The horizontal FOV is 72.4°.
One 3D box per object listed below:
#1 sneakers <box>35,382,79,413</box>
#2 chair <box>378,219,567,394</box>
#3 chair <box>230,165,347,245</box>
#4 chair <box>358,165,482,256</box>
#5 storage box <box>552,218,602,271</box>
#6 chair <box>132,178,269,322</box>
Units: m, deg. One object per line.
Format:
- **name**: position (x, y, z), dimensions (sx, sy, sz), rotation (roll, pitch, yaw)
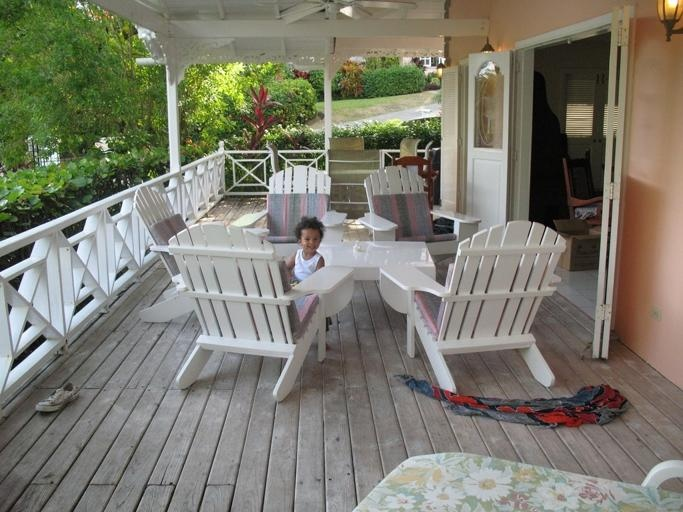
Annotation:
- **sneakers**: position (-1.828, 0.915, 2.997), dimensions (0.091, 0.091, 0.242), rotation (8, 12, 18)
- **chair**: position (0.847, 0.242, 3.606), dimensions (1.075, 1.021, 1.276), rotation (-2, 12, -10)
- **chair**: position (-0.652, -0.565, 5.484), dimensions (0.898, 0.867, 1.087), rotation (3, 32, 1)
- **chair**: position (0.744, -0.454, 5.442), dimensions (1.040, 1.153, 1.224), rotation (-6, 16, -17)
- **storage box**: position (2.928, -0.143, 5.901), dimensions (0.604, 0.586, 0.783), rotation (1, 12, 14)
- **chair**: position (-1.482, -0.061, 4.364), dimensions (1.402, 1.440, 1.060), rotation (2, 18, 1)
